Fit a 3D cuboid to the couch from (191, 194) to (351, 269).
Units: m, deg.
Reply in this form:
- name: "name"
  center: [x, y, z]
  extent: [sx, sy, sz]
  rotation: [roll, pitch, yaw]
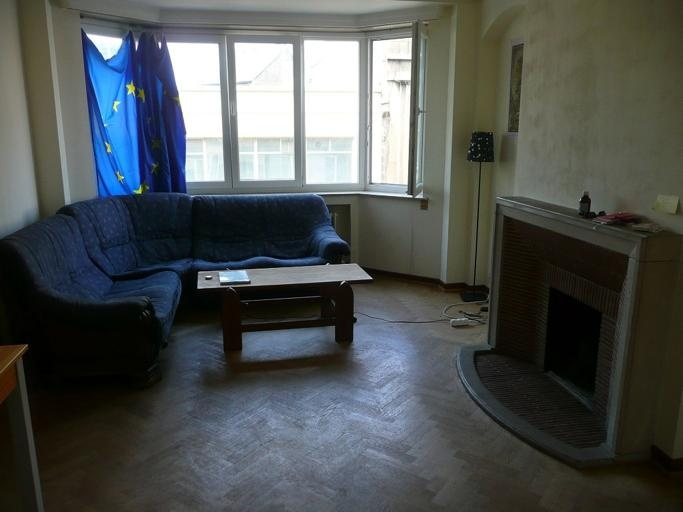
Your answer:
- name: "couch"
  center: [-0.881, -0.300, 5.709]
  extent: [1.484, 0.771, 0.789]
  rotation: [-2, 8, -13]

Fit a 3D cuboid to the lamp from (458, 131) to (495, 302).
- name: "lamp"
  center: [1.437, -0.423, 5.579]
  extent: [0.279, 1.741, 0.524]
  rotation: [3, 16, 16]
